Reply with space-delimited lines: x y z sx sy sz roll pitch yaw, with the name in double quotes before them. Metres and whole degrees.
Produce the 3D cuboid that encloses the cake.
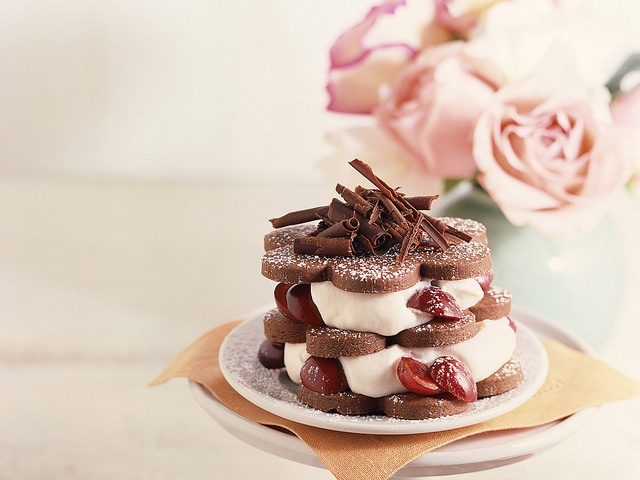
"cake" 0.121 0.061 1.502 0.522 0.359 0.521 -5 12 -19
